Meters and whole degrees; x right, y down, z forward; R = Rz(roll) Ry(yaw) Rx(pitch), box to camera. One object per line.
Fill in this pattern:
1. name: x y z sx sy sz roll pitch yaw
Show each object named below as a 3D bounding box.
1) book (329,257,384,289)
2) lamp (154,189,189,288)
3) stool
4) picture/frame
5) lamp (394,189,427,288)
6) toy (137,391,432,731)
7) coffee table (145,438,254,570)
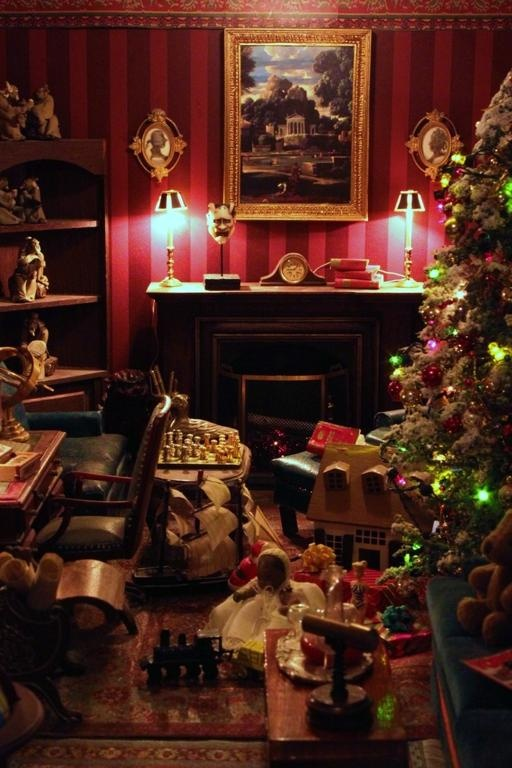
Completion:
1. book: 0.745 -0.816 4.545 0.304 0.147 0.303 2 10 7
2. lamp: -0.635 -1.128 4.654 0.256 0.794 0.425 -1 3 -8
3. stool: 0.332 0.744 3.847 0.474 0.561 0.471 9 3 23
4. picture/frame: 0.306 -2.057 4.658 1.439 1.801 0.089 0 8 -2
5. lamp: 1.172 -1.138 4.677 0.233 0.780 0.493 0 3 15
6. toy: 0.111 0.666 2.762 1.584 1.328 0.513 2 2 31
7. coffee table: -0.352 0.614 3.271 0.612 0.684 0.604 4 2 20
